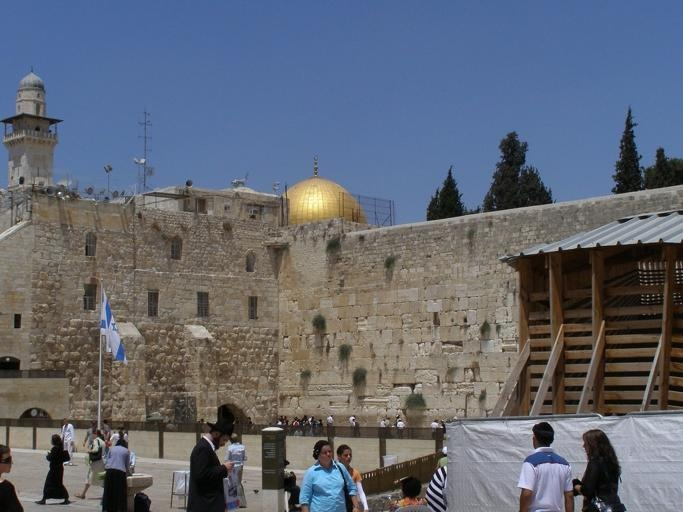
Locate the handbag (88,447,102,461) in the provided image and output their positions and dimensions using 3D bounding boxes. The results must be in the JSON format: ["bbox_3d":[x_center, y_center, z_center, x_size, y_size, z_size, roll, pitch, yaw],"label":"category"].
[{"bbox_3d":[-5.036,4.059,30.326,0.265,0.204,0.382,-8,-3,-7],"label":"handbag"}]

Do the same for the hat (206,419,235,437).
[{"bbox_3d":[-1.945,2.875,24.293,0.278,0.130,0.334,5,-25,49],"label":"hat"}]
